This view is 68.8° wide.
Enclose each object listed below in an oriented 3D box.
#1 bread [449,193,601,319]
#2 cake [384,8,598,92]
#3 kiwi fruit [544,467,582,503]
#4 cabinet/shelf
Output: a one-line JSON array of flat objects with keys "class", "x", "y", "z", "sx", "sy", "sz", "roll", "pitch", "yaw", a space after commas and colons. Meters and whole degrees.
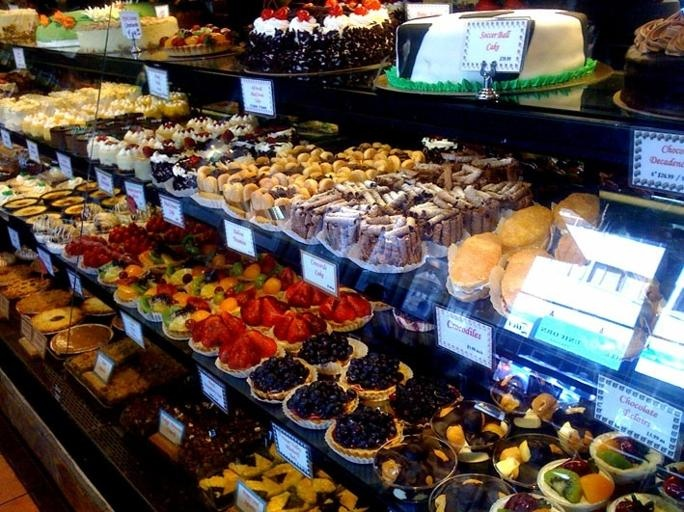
[{"class": "bread", "x": 0.627, "y": -0.042, "z": 1.671, "sx": 0.570, "sy": 0.282, "sz": 0.412, "roll": -20, "pitch": 33, "yaw": -34}, {"class": "cake", "x": 0.444, "y": -0.643, "z": 1.579, "sx": 0.686, "sy": 0.231, "sz": 0.476, "roll": 9, "pitch": 28, "yaw": 17}, {"class": "kiwi fruit", "x": 0.736, "y": 0.749, "z": 1.649, "sx": 0.085, "sy": 0.041, "sz": 0.122, "roll": -12, "pitch": 29, "yaw": -21}, {"class": "cabinet/shelf", "x": -0.080, "y": 0.117, "z": 2.166, "sx": 3.573, "sy": 0.717, "sz": 0.526, "roll": 19, "pitch": 33, "yaw": 31}]
